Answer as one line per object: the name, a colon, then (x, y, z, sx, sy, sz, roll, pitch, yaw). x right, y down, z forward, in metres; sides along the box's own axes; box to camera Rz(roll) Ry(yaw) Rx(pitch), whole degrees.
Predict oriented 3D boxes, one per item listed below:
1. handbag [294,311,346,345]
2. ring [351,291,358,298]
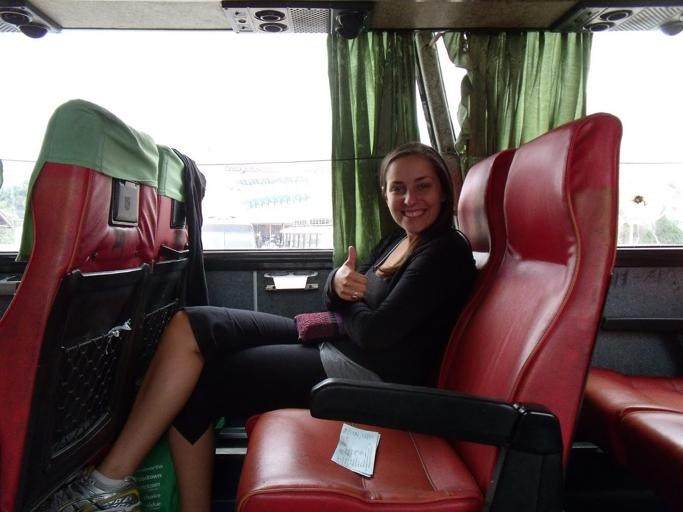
handbag: (-0.080, 0.283, 1.951, 0.131, 0.045, 0.132, -6, 9, -19)
ring: (0.047, 0.144, 1.894, 0.020, 0.027, 0.011, 0, -1, 14)
